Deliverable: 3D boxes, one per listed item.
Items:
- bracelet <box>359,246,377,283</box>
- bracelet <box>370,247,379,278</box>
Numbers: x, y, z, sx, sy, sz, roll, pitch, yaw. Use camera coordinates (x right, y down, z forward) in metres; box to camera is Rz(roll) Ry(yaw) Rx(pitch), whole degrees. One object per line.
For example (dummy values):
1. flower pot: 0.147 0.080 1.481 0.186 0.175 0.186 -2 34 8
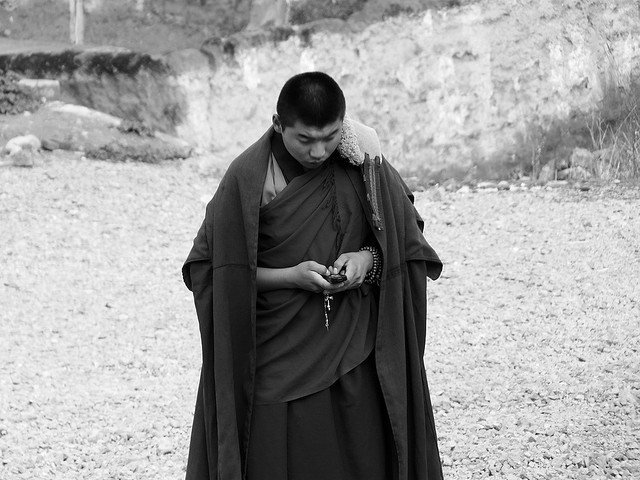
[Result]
1. bracelet: 0.289 0.170 7.978 0.061 0.199 0.153 1 4 -13
2. bracelet: 0.364 0.154 8.002 0.020 0.175 0.060 0 9 -38
